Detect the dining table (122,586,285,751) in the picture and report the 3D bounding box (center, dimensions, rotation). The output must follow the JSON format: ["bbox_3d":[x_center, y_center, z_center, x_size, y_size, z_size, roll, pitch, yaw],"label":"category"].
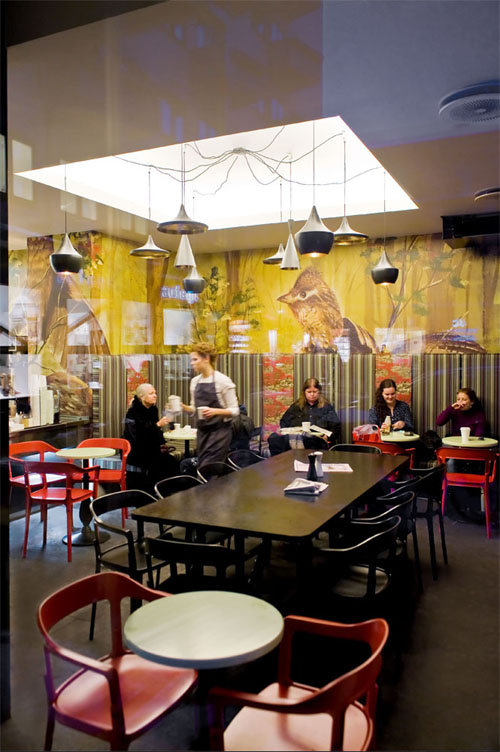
[{"bbox_3d":[-0.109,0.640,1.537,0.394,0.459,0.391,1,2,9],"label":"dining table"}]

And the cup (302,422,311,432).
[{"bbox_3d":[0.260,0.238,2.681,0.045,0.044,0.047,-1,4,0],"label":"cup"}]

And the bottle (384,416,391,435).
[{"bbox_3d":[0.547,0.197,2.292,0.014,0.058,0.042,9,-6,-7],"label":"bottle"}]

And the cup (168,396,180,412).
[{"bbox_3d":[-0.329,0.120,2.490,0.049,0.060,0.062,0,-12,-7],"label":"cup"}]

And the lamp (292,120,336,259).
[{"bbox_3d":[0.268,-0.780,2.404,0.115,0.552,0.167,-7,10,-27],"label":"lamp"}]

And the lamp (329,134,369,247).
[{"bbox_3d":[0.398,-0.707,2.347,0.099,0.342,0.180,-3,9,-7],"label":"lamp"}]

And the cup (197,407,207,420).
[{"bbox_3d":[-0.218,0.167,2.571,0.038,0.045,0.047,1,-1,11],"label":"cup"}]

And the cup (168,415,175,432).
[{"bbox_3d":[-0.345,0.206,2.510,0.031,0.074,0.044,-5,10,-19],"label":"cup"}]

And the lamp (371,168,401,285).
[{"bbox_3d":[0.520,-0.583,2.251,0.097,0.452,0.183,-2,9,1],"label":"lamp"}]
